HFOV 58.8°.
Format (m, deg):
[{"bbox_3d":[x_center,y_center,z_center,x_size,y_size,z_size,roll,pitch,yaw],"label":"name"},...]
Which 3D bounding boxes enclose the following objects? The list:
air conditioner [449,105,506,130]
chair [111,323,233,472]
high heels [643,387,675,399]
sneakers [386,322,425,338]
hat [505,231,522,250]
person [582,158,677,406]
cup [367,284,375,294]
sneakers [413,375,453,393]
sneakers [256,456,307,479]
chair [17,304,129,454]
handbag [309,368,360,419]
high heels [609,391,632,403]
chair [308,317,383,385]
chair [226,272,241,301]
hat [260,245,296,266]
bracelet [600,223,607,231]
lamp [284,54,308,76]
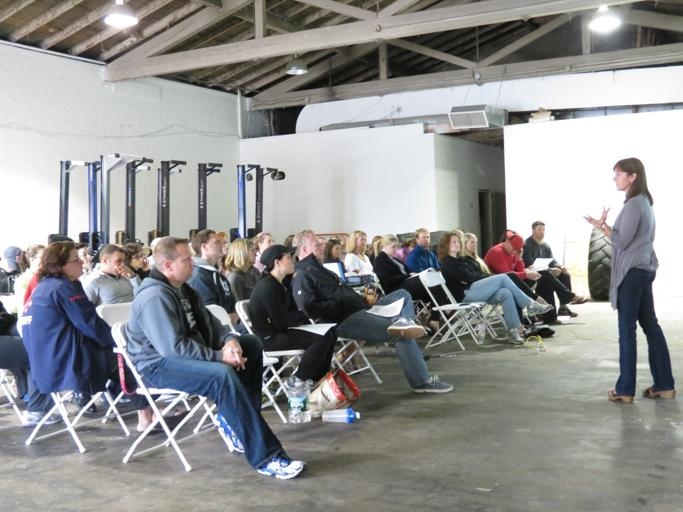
[{"bbox_3d":[2.891,-2.941,12.883,1.216,0.440,0.759,-2,2,2],"label":"air conditioner"},{"bbox_3d":[-1.125,0.998,4.425,0.945,1.293,0.750,-3,-5,14],"label":"chair"},{"bbox_3d":[2.473,1.050,4.727,0.162,0.057,0.092,4,1,33],"label":"high heels"},{"bbox_3d":[0.532,0.624,5.032,0.336,0.123,0.145,4,28,40],"label":"sneakers"},{"bbox_3d":[2.417,-0.211,8.520,0.217,0.168,0.322,9,12,-3],"label":"hat"},{"bbox_3d":[2.246,0.171,4.696,0.602,1.881,0.409,-3,3,-30],"label":"person"},{"bbox_3d":[0.367,0.419,7.730,0.104,0.144,0.079,1,-18,-2],"label":"cup"},{"bbox_3d":[0.793,1.105,5.259,0.362,0.149,0.134,-1,-4,2],"label":"sneakers"},{"bbox_3d":[-0.352,1.221,3.532,0.253,0.116,0.108,-6,-8,22],"label":"sneakers"},{"bbox_3d":[-1.981,1.031,4.383,0.475,0.567,0.418,16,-1,1],"label":"chair"},{"bbox_3d":[-0.073,1.071,4.701,0.285,0.166,0.238,-45,14,22],"label":"handbag"},{"bbox_3d":[2.159,1.086,4.703,0.064,0.046,0.116,4,6,-37],"label":"high heels"},{"bbox_3d":[0.091,0.908,5.884,0.680,0.921,0.532,-10,-8,37],"label":"chair"},{"bbox_3d":[-1.003,0.291,5.634,0.123,0.215,0.230,-15,-4,19],"label":"chair"},{"bbox_3d":[-0.509,-0.007,4.794,0.221,0.115,0.143,-27,3,-8],"label":"hat"},{"bbox_3d":[2.010,-0.226,4.662,0.040,0.053,0.017,8,-4,30],"label":"bracelet"},{"bbox_3d":[-0.910,-3.909,12.348,0.365,0.410,0.407,-2,2,2],"label":"lamp"}]
